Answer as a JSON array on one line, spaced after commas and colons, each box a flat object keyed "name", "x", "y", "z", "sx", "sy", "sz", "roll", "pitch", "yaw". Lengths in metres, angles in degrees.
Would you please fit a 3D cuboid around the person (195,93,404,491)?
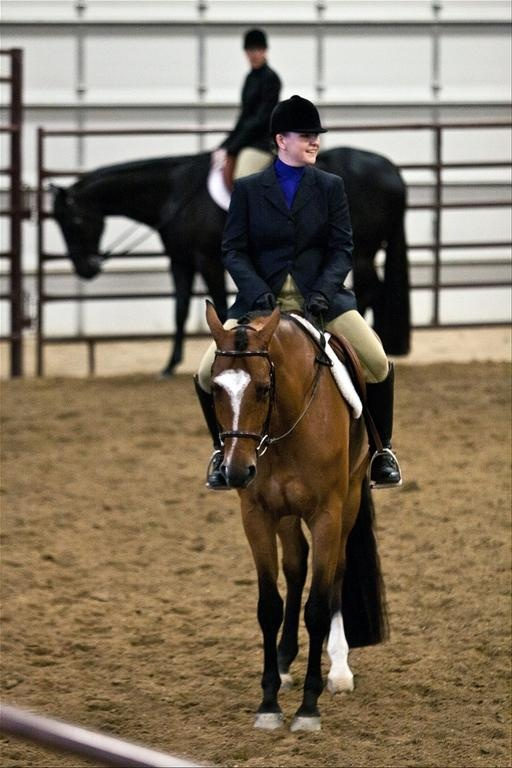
[{"name": "person", "x": 0.207, "y": -0.403, "z": 6.015, "sx": 0.747, "sy": 1.704, "sz": 0.800, "roll": -2, "pitch": 31, "yaw": 0}]

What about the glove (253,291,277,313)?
[{"name": "glove", "x": 0.037, "y": -0.324, "z": 5.659, "sx": 0.062, "sy": 0.034, "sz": 0.094, "roll": -1, "pitch": 38, "yaw": 22}]

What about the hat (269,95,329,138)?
[{"name": "hat", "x": 0.188, "y": -1.086, "z": 5.768, "sx": 0.185, "sy": 0.138, "sz": 0.148, "roll": 6, "pitch": 12, "yaw": 40}]

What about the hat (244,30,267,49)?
[{"name": "hat", "x": 0.014, "y": -2.564, "z": 10.608, "sx": 0.151, "sy": 0.196, "sz": 0.167, "roll": 0, "pitch": -3, "yaw": -5}]

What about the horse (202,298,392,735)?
[{"name": "horse", "x": 0.223, "y": 0.563, "z": 5.962, "sx": 0.423, "sy": 1.672, "sz": 1.890, "roll": 0, "pitch": -1, "yaw": 17}]
